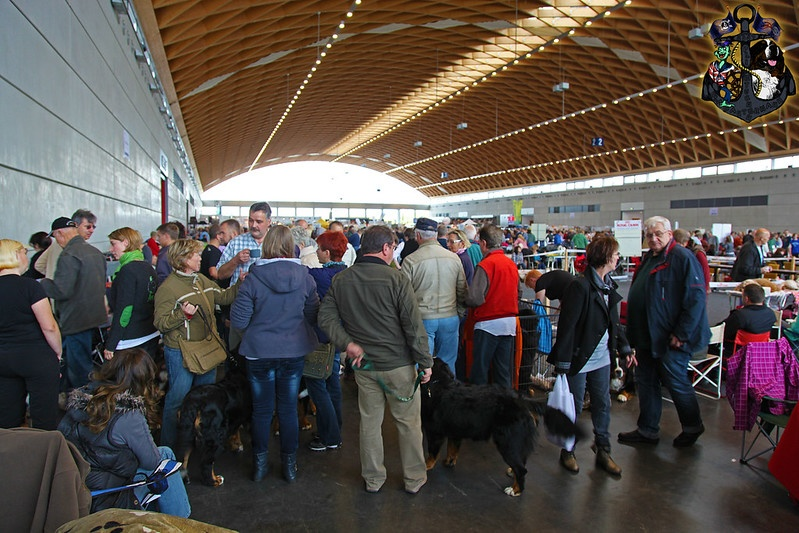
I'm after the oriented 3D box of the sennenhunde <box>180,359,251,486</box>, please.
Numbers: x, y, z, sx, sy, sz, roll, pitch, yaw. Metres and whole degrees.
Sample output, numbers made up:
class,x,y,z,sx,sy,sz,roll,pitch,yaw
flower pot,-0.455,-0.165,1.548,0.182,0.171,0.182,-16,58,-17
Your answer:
class,x,y,z,sx,sy,sz,roll,pitch,yaw
sennenhunde,-2.040,1.680,6.177,0.746,1.354,0.827,2,5,17

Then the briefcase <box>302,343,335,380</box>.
class,x,y,z,sx,sy,sz,roll,pitch,yaw
briefcase,-0.978,1.108,6.392,0.429,0.461,0.195,-3,-10,11
